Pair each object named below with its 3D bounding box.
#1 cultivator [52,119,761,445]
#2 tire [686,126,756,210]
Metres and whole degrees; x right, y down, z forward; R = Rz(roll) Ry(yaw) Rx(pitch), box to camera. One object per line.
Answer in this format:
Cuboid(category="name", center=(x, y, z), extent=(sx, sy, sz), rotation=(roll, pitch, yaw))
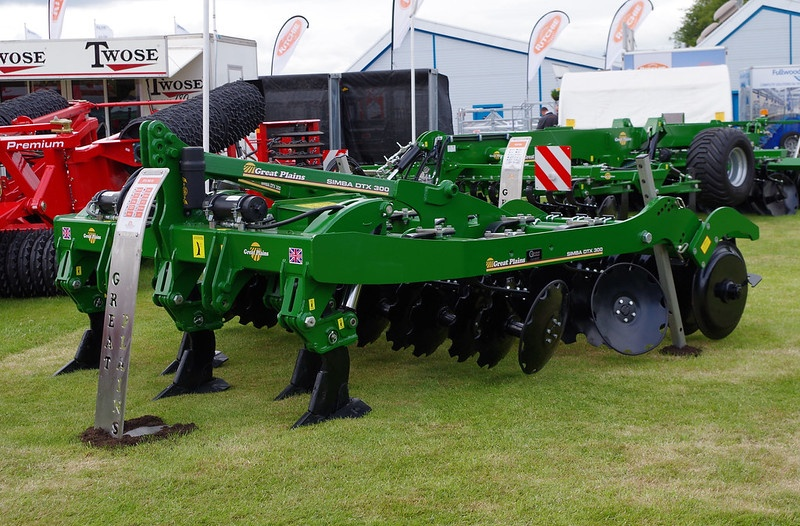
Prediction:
Cuboid(category="cultivator", center=(-0.069, -0.164, 5.674), extent=(5.544, 2.116, 1.955), rotation=(-6, 14, -19))
Cuboid(category="tire", center=(5.296, -1.565, 11.026), extent=(1.283, 1.302, 0.570), rotation=(-9, 8, -38))
